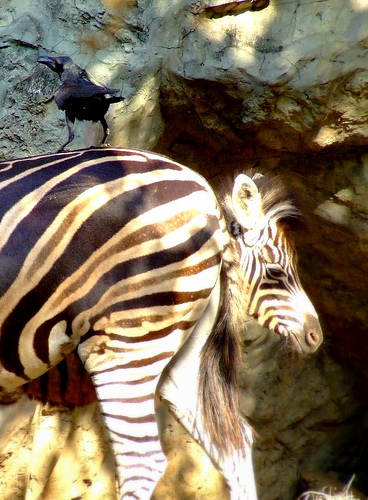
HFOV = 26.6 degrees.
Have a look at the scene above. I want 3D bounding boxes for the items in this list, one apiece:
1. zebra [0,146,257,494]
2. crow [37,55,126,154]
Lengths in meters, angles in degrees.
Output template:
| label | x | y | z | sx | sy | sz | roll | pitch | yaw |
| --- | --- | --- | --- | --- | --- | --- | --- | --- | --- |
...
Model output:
| label | x | y | z | sx | sy | sz | roll | pitch | yaw |
| --- | --- | --- | --- | --- | --- | --- | --- | --- | --- |
| zebra | -0.220 | 0.358 | 3.041 | 0.901 | 1.365 | 0.835 | -4 | 34 | 3 |
| crow | -0.373 | -0.572 | 3.018 | 0.422 | 0.366 | 0.195 | 1 | 3 | 36 |
